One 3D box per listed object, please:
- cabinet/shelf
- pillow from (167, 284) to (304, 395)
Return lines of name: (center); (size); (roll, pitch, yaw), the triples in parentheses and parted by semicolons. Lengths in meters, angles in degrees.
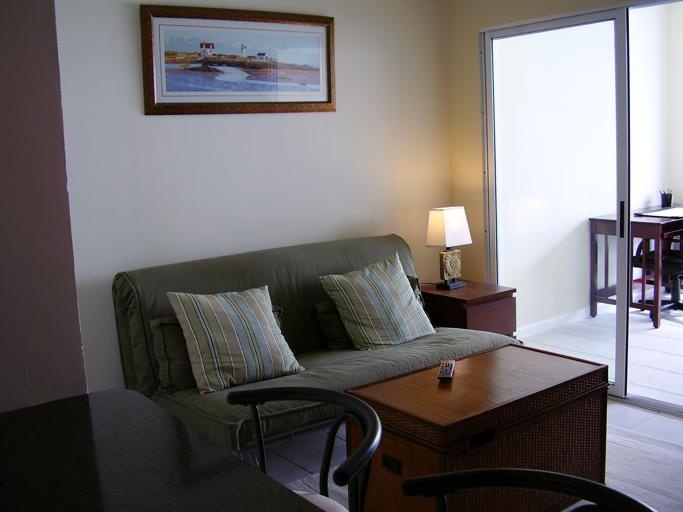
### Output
cabinet/shelf: (0.936, 0.419, 3.772); (0.553, 0.360, 0.560); (-12, 12, -42)
pillow: (-0.558, 0.436, 2.774); (0.350, 0.470, 0.635); (-4, -3, 39)
